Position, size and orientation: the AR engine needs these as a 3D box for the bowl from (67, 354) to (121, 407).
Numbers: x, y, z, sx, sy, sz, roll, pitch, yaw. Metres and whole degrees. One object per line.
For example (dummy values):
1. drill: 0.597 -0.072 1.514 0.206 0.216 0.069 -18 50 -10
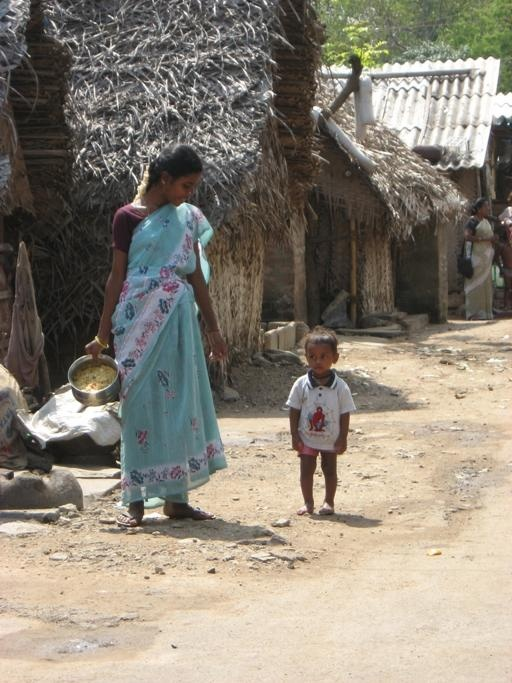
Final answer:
1. bowl: -0.747 0.168 4.916 0.269 0.159 0.263 1 34 0

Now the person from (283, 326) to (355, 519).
1. person: 0.295 0.364 4.937 0.297 0.863 0.246 1 7 0

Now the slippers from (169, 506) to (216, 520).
1. slippers: -0.283 0.765 4.748 0.214 0.081 0.068 -3 0 8

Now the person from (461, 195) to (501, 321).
1. person: 2.981 -1.089 14.364 0.434 1.641 0.744 2 7 12

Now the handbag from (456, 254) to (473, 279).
1. handbag: 2.815 -0.996 14.295 0.104 0.331 0.361 3 3 8

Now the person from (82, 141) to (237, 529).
1. person: -0.414 -0.069 4.556 0.600 1.506 0.304 -1 7 -13
